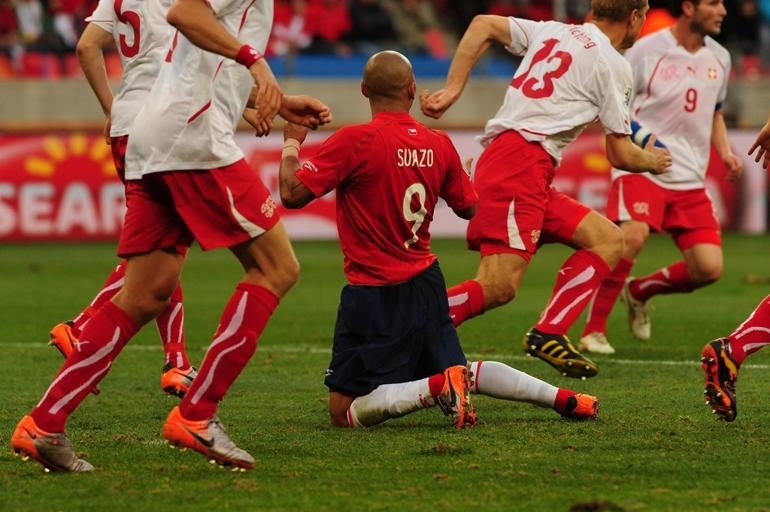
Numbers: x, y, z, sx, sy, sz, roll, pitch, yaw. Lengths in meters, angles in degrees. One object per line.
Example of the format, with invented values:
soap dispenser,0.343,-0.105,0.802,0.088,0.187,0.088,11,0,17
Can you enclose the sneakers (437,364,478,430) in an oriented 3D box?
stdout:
sneakers,0.471,0.886,6.660,0.164,0.468,0.217,-6,44,16

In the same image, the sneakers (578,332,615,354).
sneakers,1.733,0.699,8.838,0.268,0.137,0.149,3,2,28

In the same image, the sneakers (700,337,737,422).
sneakers,2.161,0.782,6.928,0.244,0.511,0.225,3,9,13

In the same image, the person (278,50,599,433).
person,0.002,-0.099,6.816,1.202,2.334,0.742,2,9,4

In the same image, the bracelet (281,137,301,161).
bracelet,-0.589,-0.672,6.768,0.113,0.178,0.125,0,4,-7
